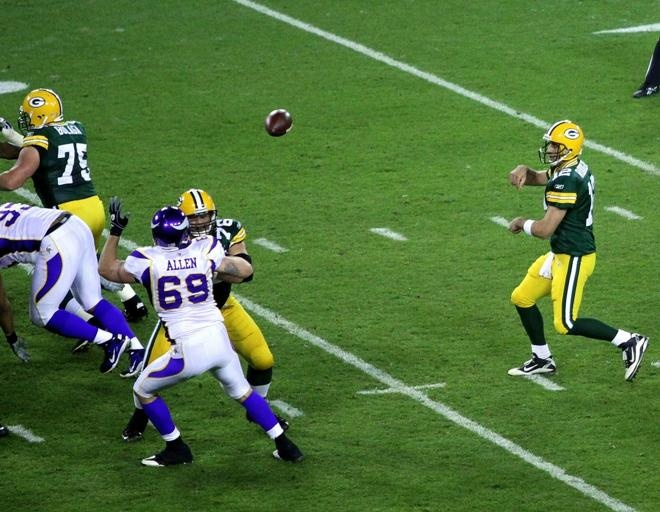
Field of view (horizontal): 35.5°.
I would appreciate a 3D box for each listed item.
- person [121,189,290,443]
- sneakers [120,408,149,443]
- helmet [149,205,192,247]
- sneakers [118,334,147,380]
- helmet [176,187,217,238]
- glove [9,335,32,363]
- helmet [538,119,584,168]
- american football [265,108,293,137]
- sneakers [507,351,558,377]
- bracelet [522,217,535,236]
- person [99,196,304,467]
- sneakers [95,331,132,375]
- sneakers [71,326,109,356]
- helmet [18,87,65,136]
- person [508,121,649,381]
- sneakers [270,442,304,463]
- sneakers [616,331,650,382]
[{"bbox_3d":[-0.795,0.400,6.747,1.214,1.504,0.974,-4,7,-10],"label":"person"},{"bbox_3d":[-1.275,1.129,6.846,0.122,0.202,0.210,23,-7,-8],"label":"sneakers"},{"bbox_3d":[-0.988,-0.185,6.432,0.289,0.258,0.325,2,1,3],"label":"helmet"},{"bbox_3d":[-1.469,0.742,7.437,0.117,0.211,0.331,10,29,23],"label":"sneakers"},{"bbox_3d":[-0.822,-0.278,6.541,0.243,0.233,0.306,-11,5,-22],"label":"helmet"},{"bbox_3d":[-2.240,0.662,7.479,0.124,0.210,0.086,-35,22,-2],"label":"glove"},{"bbox_3d":[1.717,-0.852,7.534,0.369,0.268,0.247,-15,17,-21],"label":"helmet"},{"bbox_3d":[-0.403,-1.144,8.968,0.291,0.234,0.132,-1,-10,0],"label":"american football"},{"bbox_3d":[1.496,0.805,7.656,0.453,0.166,0.136,0,10,-1],"label":"sneakers"},{"bbox_3d":[1.460,-0.225,7.406,0.112,0.091,0.101,4,-11,-13],"label":"bracelet"},{"bbox_3d":[-0.804,0.466,6.595,1.424,1.596,0.638,7,25,2],"label":"person"},{"bbox_3d":[-1.555,0.681,7.403,0.194,0.371,0.126,26,22,-33],"label":"sneakers"},{"bbox_3d":[-1.842,0.655,7.847,0.079,0.089,0.230,31,25,17],"label":"sneakers"},{"bbox_3d":[-2.185,-1.112,7.838,0.406,0.288,0.277,-3,12,6],"label":"helmet"},{"bbox_3d":[1.800,-0.056,7.575,1.015,1.779,1.161,5,24,-3],"label":"person"},{"bbox_3d":[-0.258,1.258,6.712,0.208,0.117,0.102,13,16,20],"label":"sneakers"},{"bbox_3d":[2.164,0.698,7.419,0.214,0.394,0.129,10,31,1],"label":"sneakers"}]
